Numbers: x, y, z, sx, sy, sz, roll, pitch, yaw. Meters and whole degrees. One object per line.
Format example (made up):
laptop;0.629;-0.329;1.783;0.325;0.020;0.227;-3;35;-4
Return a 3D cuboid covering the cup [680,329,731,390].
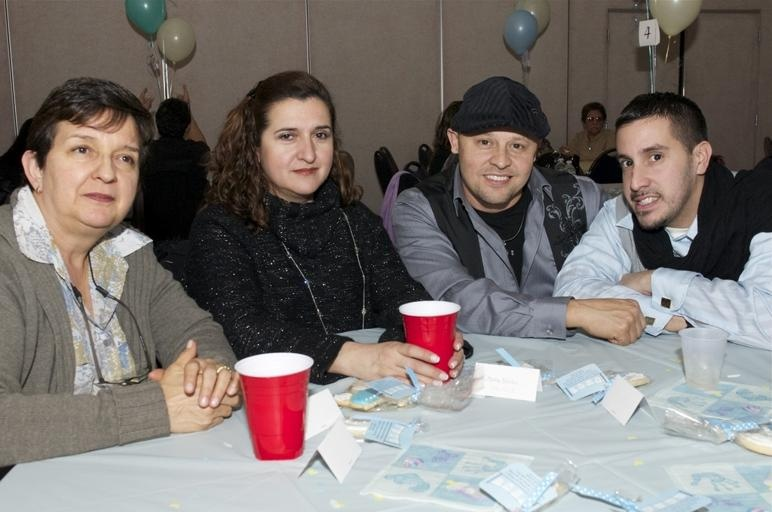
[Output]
cup;0.863;0.283;1.543;0.152;0.152;0.152;-1;1;0

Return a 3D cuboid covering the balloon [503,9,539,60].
balloon;1.868;-3.076;7.468;0.443;0.648;0.276;-1;9;12

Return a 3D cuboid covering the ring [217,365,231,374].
ring;-0.453;0.315;1.516;0.029;0.011;0.028;0;-3;0

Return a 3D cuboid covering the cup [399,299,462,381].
cup;0.124;0.238;1.579;0.207;0.208;0.204;-1;-1;0

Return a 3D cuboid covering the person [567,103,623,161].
person;2.974;-1.686;7.682;0.782;0.947;0.598;5;13;27

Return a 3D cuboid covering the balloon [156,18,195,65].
balloon;-2.637;-2.680;6.700;0.421;0.412;0.651;18;32;-32
